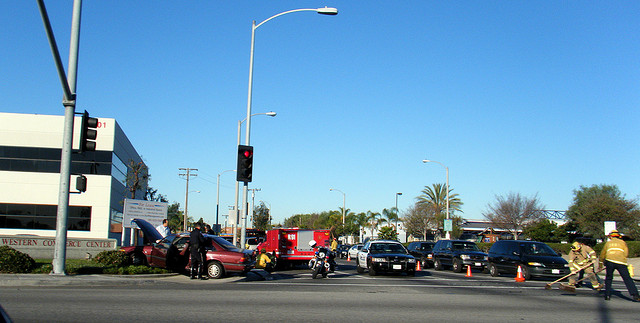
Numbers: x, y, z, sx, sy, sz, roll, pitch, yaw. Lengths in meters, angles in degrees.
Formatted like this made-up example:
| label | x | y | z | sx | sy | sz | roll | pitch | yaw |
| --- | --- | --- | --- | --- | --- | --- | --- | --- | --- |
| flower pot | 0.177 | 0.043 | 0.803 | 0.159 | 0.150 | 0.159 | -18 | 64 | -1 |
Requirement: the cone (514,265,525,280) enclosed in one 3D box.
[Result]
| label | x | y | z | sx | sy | sz | roll | pitch | yaw |
| --- | --- | --- | --- | --- | --- | --- | --- | --- | --- |
| cone | 14.478 | 8.077 | 37.203 | 0.857 | 0.875 | 0.823 | 2 | -11 | -10 |

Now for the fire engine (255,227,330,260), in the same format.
| label | x | y | z | sx | sy | sz | roll | pitch | yaw |
| --- | --- | --- | --- | --- | --- | --- | --- | --- | --- |
| fire engine | -2.723 | 7.526 | 44.666 | 3.602 | 1.847 | 4.158 | 2 | -3 | -18 |

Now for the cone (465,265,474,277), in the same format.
| label | x | y | z | sx | sy | sz | roll | pitch | yaw |
| --- | --- | --- | --- | --- | --- | --- | --- | --- | --- |
| cone | 11.888 | 8.688 | 40.519 | 0.623 | 0.628 | 0.620 | 4 | -9 | -42 |

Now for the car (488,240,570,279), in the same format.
| label | x | y | z | sx | sy | sz | roll | pitch | yaw |
| --- | --- | --- | --- | --- | --- | --- | --- | --- | --- |
| car | 16.231 | 7.593 | 39.930 | 4.071 | 2.671 | 6.746 | 2 | -8 | -9 |

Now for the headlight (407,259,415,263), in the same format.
| label | x | y | z | sx | sy | sz | roll | pitch | yaw |
| --- | --- | --- | --- | --- | --- | --- | --- | --- | --- |
| headlight | 7.023 | 7.562 | 39.120 | 0.655 | 0.232 | 0.180 | 2 | -1 | -26 |

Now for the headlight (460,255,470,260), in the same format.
| label | x | y | z | sx | sy | sz | roll | pitch | yaw |
| --- | --- | --- | --- | --- | --- | --- | --- | --- | --- |
| headlight | 12.364 | 8.077 | 43.214 | 0.447 | 0.381 | 0.131 | 3 | -9 | 13 |
